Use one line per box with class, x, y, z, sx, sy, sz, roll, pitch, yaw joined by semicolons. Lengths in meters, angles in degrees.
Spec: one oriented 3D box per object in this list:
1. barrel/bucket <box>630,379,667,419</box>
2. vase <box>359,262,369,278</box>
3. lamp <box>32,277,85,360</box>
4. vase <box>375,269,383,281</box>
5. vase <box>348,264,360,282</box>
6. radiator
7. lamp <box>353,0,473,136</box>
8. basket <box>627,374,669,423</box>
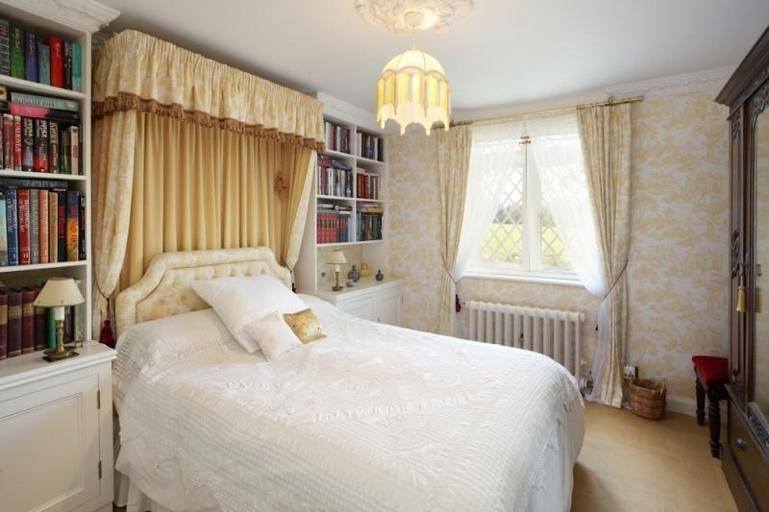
barrel/bucket;2.458;1.328;4.629;0.282;0.359;0.344;0;1;-35
vase;-0.224;0.158;6.056;0.143;0.150;0.147;0;-3;1
lamp;-2.238;0.423;3.418;0.266;0.546;0.299;-4;4;-36
vase;-0.043;0.226;5.994;0.105;0.146;0.108;-1;-8;15
vase;-0.351;0.206;5.757;0.166;0.221;0.170;0;-5;-5
radiator;1.364;0.804;4.546;0.859;0.565;0.119;1;-4;32
lamp;0.228;-1.301;3.835;0.970;1.038;0.940;0;-3;-9
basket;2.449;1.325;4.658;0.291;0.375;0.356;0;1;-32
